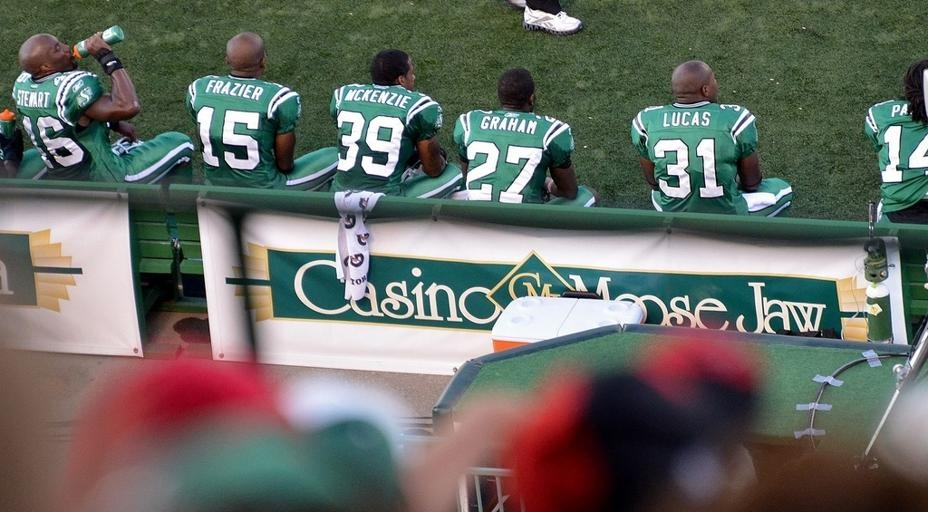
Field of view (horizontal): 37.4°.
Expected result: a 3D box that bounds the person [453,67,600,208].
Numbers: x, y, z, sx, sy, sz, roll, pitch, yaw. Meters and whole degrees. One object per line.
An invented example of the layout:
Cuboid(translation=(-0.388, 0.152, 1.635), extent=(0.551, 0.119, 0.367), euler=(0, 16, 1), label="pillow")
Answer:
Cuboid(translation=(0.543, -0.994, 11.907), extent=(1.110, 1.358, 0.941), euler=(10, 55, 8), label="person")

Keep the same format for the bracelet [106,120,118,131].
Cuboid(translation=(-3.168, -1.187, 12.338), extent=(0.106, 0.026, 0.093), euler=(-1, -18, -5), label="bracelet")

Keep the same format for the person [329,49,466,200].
Cuboid(translation=(-0.620, -1.143, 11.797), extent=(1.080, 1.247, 0.419), euler=(-1, 18, -2), label="person")

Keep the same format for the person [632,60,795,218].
Cuboid(translation=(2.144, -0.964, 11.804), extent=(1.470, 1.203, 1.004), euler=(4, 34, 27), label="person")

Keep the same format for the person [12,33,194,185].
Cuboid(translation=(-3.174, -1.263, 11.862), extent=(1.332, 1.355, 0.502), euler=(-5, 19, -15), label="person")
